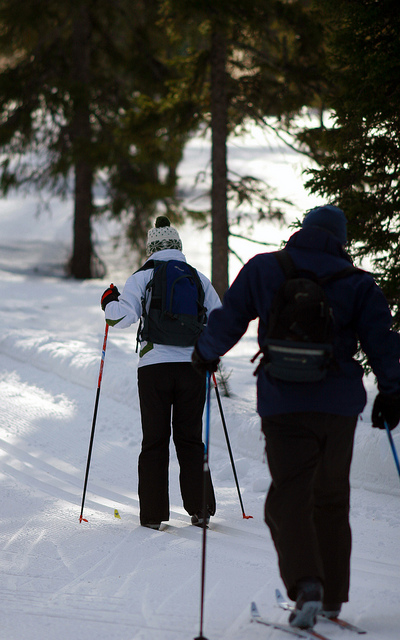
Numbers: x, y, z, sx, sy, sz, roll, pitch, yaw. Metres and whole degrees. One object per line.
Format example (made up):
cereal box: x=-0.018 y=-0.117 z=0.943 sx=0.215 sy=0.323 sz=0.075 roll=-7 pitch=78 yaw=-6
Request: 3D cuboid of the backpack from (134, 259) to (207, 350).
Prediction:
backpack: x=-0.174 y=-0.104 z=5.382 sx=0.413 sy=0.582 sz=0.346 roll=3 pitch=-11 yaw=-20

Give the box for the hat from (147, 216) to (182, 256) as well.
hat: x=-0.205 y=-0.586 z=5.615 sx=0.258 sy=0.284 sz=0.259 roll=-3 pitch=8 yaw=19

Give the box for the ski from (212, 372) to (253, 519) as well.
ski: x=0.211 y=0.877 z=5.797 sx=0.188 sy=1.214 sz=0.165 roll=-6 pitch=-5 yaw=-28

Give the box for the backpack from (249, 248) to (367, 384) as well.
backpack: x=0.501 y=0.001 z=3.963 sx=0.471 sy=0.610 sz=0.306 roll=6 pitch=10 yaw=10

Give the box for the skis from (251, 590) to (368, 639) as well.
skis: x=0.428 y=1.416 z=3.983 sx=0.351 sy=0.061 sz=0.196 roll=7 pitch=7 yaw=38

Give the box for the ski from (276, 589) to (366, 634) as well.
ski: x=0.549 y=1.375 z=3.962 sx=0.509 sy=0.070 sz=0.099 roll=22 pitch=-11 yaw=-4

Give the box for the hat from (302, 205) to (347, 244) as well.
hat: x=0.606 y=-0.456 z=4.193 sx=0.261 sy=0.207 sz=0.197 roll=1 pitch=1 yaw=39
